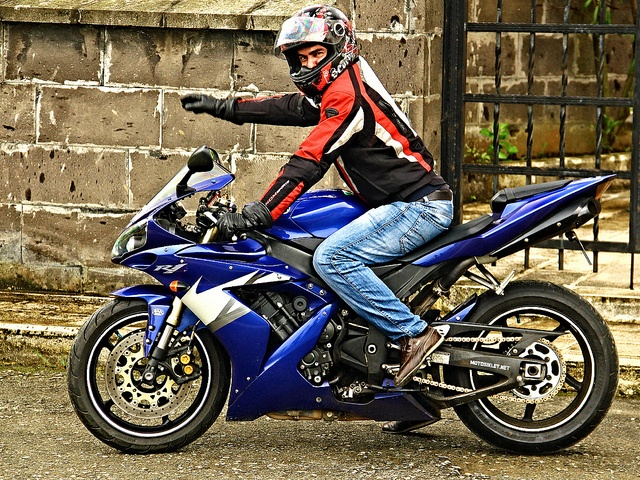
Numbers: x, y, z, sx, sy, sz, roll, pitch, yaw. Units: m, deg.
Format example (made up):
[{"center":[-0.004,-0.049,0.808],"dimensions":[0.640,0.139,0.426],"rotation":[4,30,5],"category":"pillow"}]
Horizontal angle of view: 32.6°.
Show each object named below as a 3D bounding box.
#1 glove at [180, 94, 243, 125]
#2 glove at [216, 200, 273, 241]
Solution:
[{"center":[-0.732,-0.914,7.492],"dimensions":[0.455,0.151,0.149],"rotation":[-3,7,-42],"category":"glove"},{"center":[-0.462,-0.115,6.755],"dimensions":[0.289,0.121,0.219],"rotation":[-17,31,1],"category":"glove"}]
